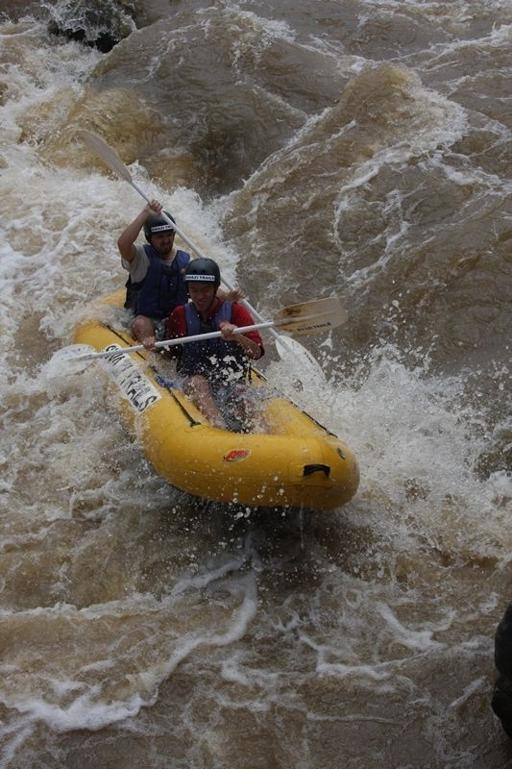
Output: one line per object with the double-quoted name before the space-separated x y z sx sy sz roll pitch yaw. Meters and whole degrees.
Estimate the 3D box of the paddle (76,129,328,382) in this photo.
"paddle" -0.432 -1.085 8.236 4.071 0.242 0.566 35 -5 6

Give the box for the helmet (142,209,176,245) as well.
"helmet" -0.728 -1.199 7.155 0.179 0.207 0.234 -36 21 -27

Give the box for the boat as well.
"boat" -0.462 0.057 6.690 1.005 0.441 2.255 -17 31 -27

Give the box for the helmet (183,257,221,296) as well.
"helmet" -0.364 -0.753 6.515 0.214 0.218 0.225 2 47 -3
